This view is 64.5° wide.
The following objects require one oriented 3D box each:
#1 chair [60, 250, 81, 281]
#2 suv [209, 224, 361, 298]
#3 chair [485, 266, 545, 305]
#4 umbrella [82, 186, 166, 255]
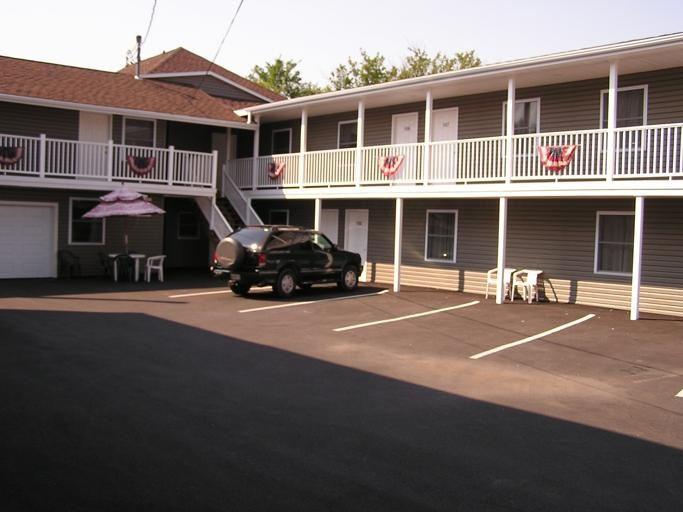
[{"bbox_3d":[-9.934,0.290,19.856,0.710,0.994,0.868,0,5,-20],"label":"chair"},{"bbox_3d":[-1.636,0.059,17.143,2.022,1.700,4.494,3,5,42],"label":"suv"},{"bbox_3d":[5.785,0.950,17.515,1.165,1.020,1.105,5,6,36],"label":"chair"},{"bbox_3d":[-7.487,-1.138,18.872,2.694,2.731,2.559,-7,8,-30],"label":"umbrella"}]
